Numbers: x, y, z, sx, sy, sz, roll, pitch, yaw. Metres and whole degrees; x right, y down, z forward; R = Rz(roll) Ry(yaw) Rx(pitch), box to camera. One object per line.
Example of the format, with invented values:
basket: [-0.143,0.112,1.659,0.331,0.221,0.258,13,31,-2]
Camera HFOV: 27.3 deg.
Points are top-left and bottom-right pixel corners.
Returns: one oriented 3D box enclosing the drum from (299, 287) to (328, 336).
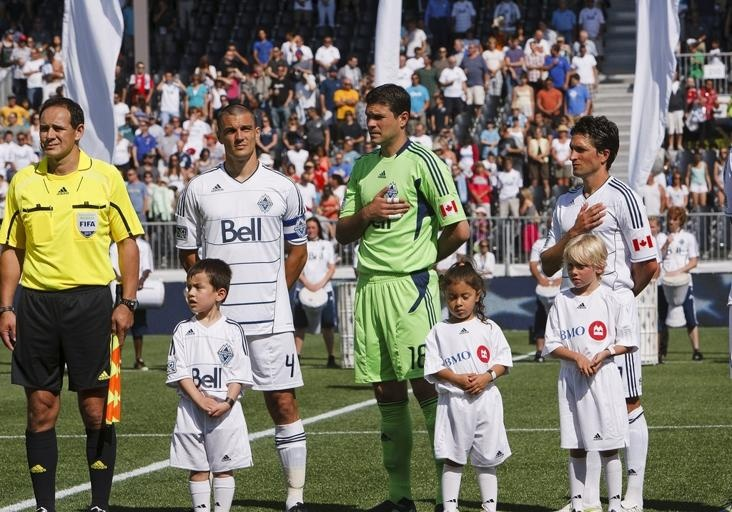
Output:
drum: [-0.793,0.868,22.804,0.506,0.779,0.542,0,38,0]

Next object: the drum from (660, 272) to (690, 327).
drum: [4.741,0.683,23.021,0.441,0.825,0.637,2,4,24]

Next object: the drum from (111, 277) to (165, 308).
drum: [-2.809,0.456,18.524,0.538,0.438,0.411,2,27,8]

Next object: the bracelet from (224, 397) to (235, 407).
bracelet: [-1.339,1.440,14.801,0.095,0.102,0.051,-1,4,-13]

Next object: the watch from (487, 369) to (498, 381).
watch: [1.255,1.191,14.953,0.069,0.115,0.109,-7,50,8]
